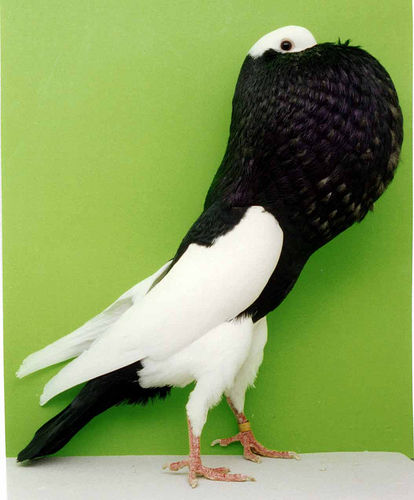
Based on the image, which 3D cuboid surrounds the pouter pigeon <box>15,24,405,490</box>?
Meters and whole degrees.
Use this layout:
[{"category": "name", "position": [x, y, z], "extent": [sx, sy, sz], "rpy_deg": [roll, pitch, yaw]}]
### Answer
[{"category": "pouter pigeon", "position": [0.016, -0.001, 1.389], "extent": [0.715, 0.901, 0.262], "rpy_deg": [-2, 7, -15]}]
